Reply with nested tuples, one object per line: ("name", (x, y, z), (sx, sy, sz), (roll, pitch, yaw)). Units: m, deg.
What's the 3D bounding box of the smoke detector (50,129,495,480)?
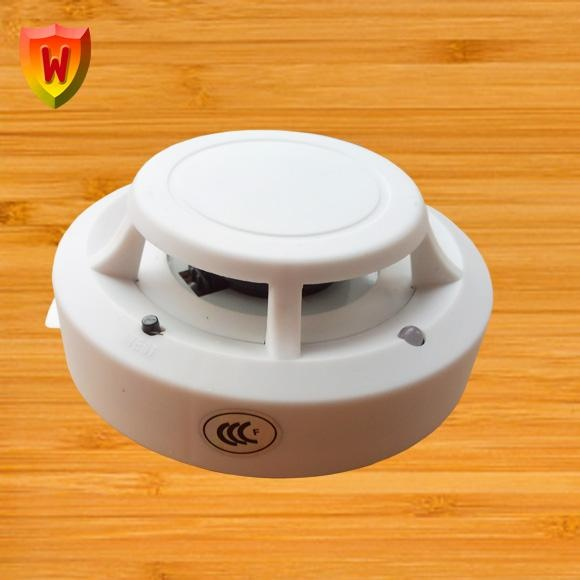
("smoke detector", (-0.048, -0.005, 2.103), (0.932, 0.780, 0.495), (-1, -13, 9))
